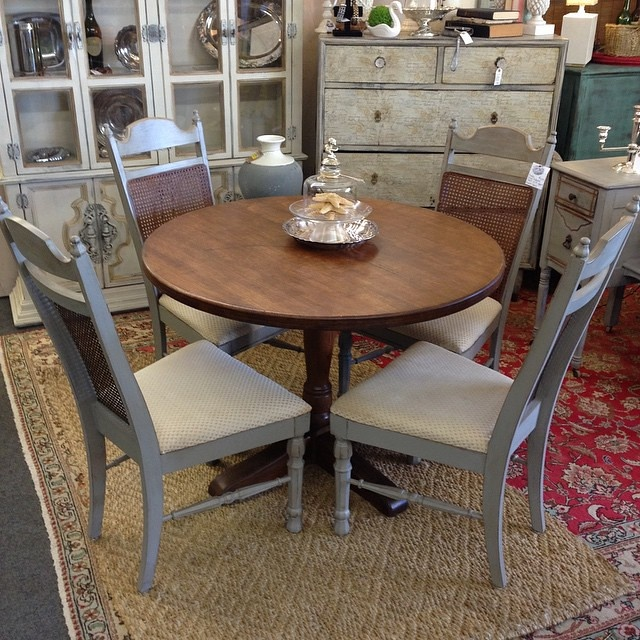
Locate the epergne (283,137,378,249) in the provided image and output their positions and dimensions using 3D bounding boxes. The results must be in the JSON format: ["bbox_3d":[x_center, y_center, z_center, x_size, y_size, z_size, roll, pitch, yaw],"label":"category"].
[{"bbox_3d":[0.025,-0.363,1.644,0.381,0.325,0.338,-2,27,-4],"label":"epergne"}]

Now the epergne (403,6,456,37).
[{"bbox_3d":[0.537,-1.520,2.817,0.254,0.108,0.226,-1,23,0],"label":"epergne"}]

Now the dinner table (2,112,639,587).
[{"bbox_3d":[-0.069,0.193,1.340,1.220,0.978,0.467,0,30,-1],"label":"dinner table"}]

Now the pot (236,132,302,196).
[{"bbox_3d":[-0.204,-0.741,2.652,0.379,0.378,0.326,-2,19,-6],"label":"pot"}]

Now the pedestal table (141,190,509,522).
[{"bbox_3d":[-0.080,0.124,1.839,1.057,0.676,0.983,-19,40,-27],"label":"pedestal table"}]

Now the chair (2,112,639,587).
[{"bbox_3d":[-0.207,0.115,1.459,1.348,0.671,1.043,-6,35,-17],"label":"chair"}]
